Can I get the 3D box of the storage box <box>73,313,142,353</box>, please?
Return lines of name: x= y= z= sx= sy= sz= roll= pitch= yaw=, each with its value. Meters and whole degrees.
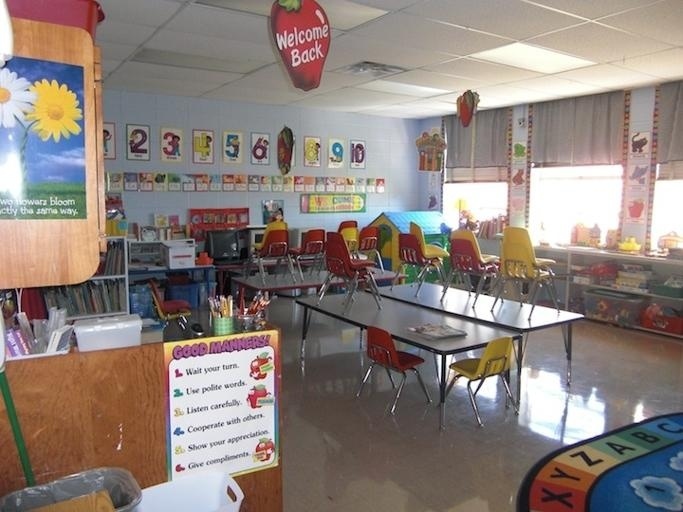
storage box: x=-1.102 y=0.370 z=2.426 sx=0.284 sy=0.131 sz=0.163 roll=-5 pitch=10 yaw=-28

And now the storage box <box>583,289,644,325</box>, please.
storage box: x=3.914 y=0.704 z=7.381 sx=0.732 sy=0.476 sz=0.428 roll=8 pitch=18 yaw=43

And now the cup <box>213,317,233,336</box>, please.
cup: x=-0.602 y=0.360 z=2.607 sx=0.090 sy=0.079 sz=0.090 roll=0 pitch=2 yaw=0

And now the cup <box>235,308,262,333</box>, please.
cup: x=-0.484 y=0.337 z=2.677 sx=0.133 sy=0.097 sz=0.116 roll=-2 pitch=9 yaw=-13

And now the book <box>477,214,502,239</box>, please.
book: x=2.651 y=-0.496 z=9.159 sx=0.357 sy=0.481 sz=0.493 roll=5 pitch=13 yaw=7

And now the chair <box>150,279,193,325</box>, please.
chair: x=-2.168 y=0.602 z=6.515 sx=0.451 sy=0.584 sz=0.526 roll=-4 pitch=9 yaw=-19

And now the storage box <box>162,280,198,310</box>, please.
storage box: x=-2.374 y=0.559 z=7.603 sx=0.490 sy=0.374 sz=0.498 roll=1 pitch=2 yaw=-8

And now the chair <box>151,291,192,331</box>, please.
chair: x=-2.013 y=0.660 z=6.001 sx=0.403 sy=0.467 sz=0.450 roll=-6 pitch=9 yaw=-21

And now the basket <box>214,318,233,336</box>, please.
basket: x=-0.600 y=0.359 z=2.610 sx=0.090 sy=0.091 sz=0.086 roll=0 pitch=5 yaw=-7
